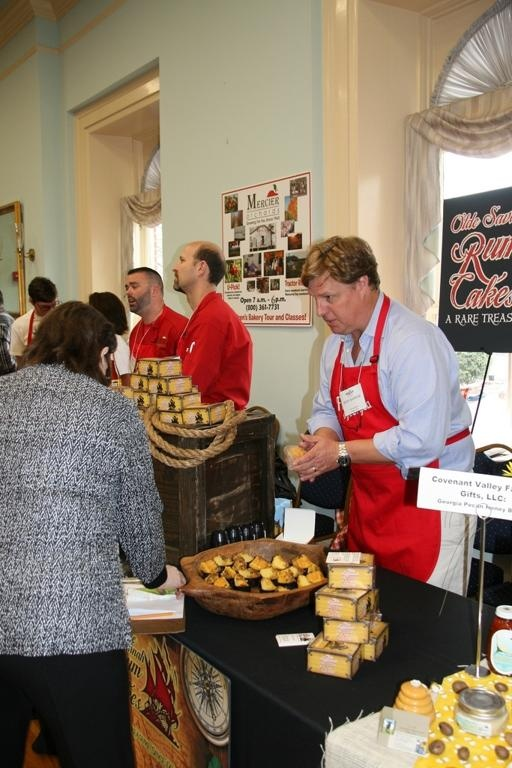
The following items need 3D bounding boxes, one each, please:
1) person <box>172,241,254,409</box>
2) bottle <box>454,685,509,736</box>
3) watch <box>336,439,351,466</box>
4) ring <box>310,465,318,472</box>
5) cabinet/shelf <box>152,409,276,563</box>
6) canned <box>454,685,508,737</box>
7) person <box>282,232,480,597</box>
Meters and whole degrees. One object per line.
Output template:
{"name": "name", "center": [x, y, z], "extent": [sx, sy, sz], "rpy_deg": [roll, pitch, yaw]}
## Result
{"name": "person", "center": [-0.186, -0.267, 2.438], "extent": [0.337, 0.757, 0.416], "rpy_deg": [-2, -2, -8]}
{"name": "bottle", "center": [0.289, 0.400, 0.692], "extent": [0.047, 0.029, 0.047], "rpy_deg": [-2, 4, 0]}
{"name": "watch", "center": [0.237, 0.191, 1.519], "extent": [0.038, 0.060, 0.057], "rpy_deg": [-4, 16, 7]}
{"name": "ring", "center": [0.154, 0.227, 1.484], "extent": [0.016, 0.023, 0.012], "rpy_deg": [-2, 7, -1]}
{"name": "cabinet/shelf", "center": [-0.097, 0.278, 1.804], "extent": [0.387, 0.537, 0.384], "rpy_deg": [-1, 1, -42]}
{"name": "canned", "center": [0.286, 0.417, 0.707], "extent": [0.071, 0.035, 0.057], "rpy_deg": [0, -3, -39]}
{"name": "person", "center": [0.340, 0.090, 1.546], "extent": [0.470, 0.953, 0.410], "rpy_deg": [-3, -3, 25]}
